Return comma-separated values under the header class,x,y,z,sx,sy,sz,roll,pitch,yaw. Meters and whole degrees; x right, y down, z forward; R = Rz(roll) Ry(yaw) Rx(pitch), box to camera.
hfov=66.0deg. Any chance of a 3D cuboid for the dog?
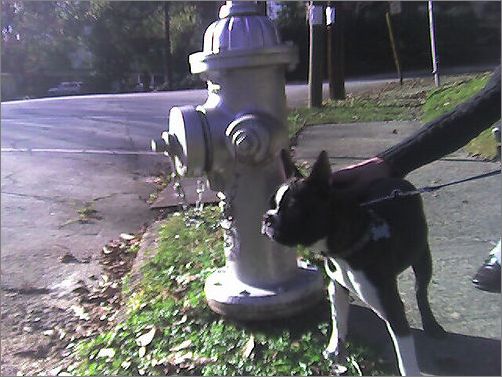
class,x,y,z,sx,sy,sz,roll,pitch,yaw
dog,0.407,0.243,1.983,1.013,1.235,0.598,-10,3,-26
